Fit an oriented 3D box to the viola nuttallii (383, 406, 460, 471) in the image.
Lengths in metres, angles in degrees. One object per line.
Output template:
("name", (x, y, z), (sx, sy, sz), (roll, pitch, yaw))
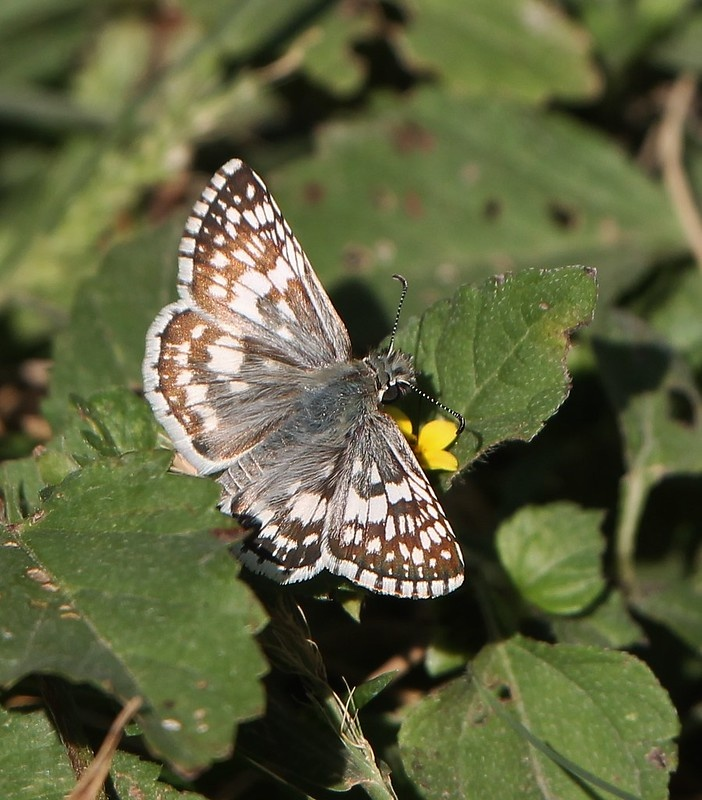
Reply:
("viola nuttallii", (0.201, 0.111, 2.391), (0.193, 0.068, 0.149), (-6, 54, -4))
